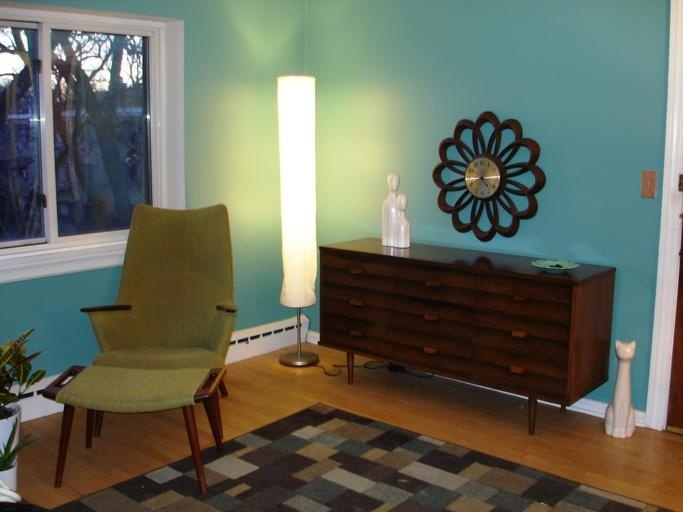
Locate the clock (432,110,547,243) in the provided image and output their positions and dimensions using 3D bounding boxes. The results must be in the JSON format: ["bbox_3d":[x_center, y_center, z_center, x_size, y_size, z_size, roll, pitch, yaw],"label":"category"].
[{"bbox_3d":[1.063,-0.569,3.850,0.885,0.975,0.141,3,6,41],"label":"clock"}]

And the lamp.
[{"bbox_3d":[-0.345,-0.260,4.392,0.320,2.241,0.579,-1,13,-4],"label":"lamp"}]

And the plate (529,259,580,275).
[{"bbox_3d":[1.335,0.060,3.409,0.299,0.042,0.271,3,13,13],"label":"plate"}]
